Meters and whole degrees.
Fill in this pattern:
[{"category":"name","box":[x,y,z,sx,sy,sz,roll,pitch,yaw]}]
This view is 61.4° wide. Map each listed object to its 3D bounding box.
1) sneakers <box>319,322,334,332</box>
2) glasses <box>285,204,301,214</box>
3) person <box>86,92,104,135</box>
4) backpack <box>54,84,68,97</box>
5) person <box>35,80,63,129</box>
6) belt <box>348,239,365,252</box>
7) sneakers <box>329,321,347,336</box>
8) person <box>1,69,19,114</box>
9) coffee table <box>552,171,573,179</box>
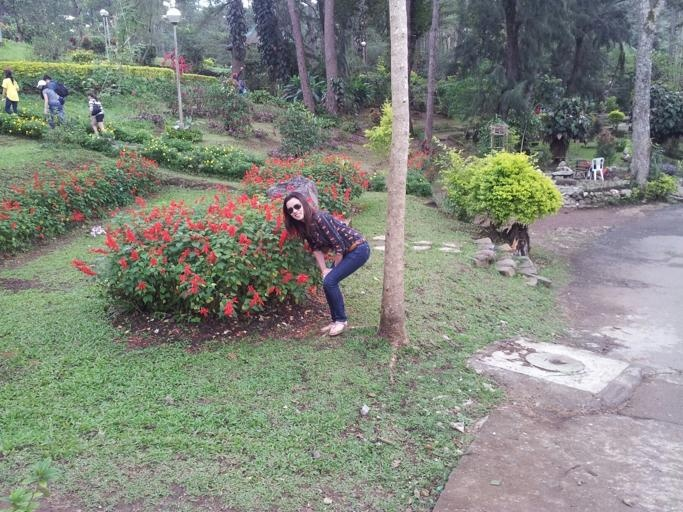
[{"category":"sneakers","box":[-0.174,0.924,7.432,0.227,0.105,0.077,-25,13,-30]},{"category":"glasses","box":[-0.576,-0.578,7.002,0.184,0.123,0.050,5,13,20]},{"category":"person","box":[-6.681,-3.925,15.769,0.309,1.040,0.728,-5,13,-22]},{"category":"backpack","box":[-8.163,-4.891,16.825,0.426,0.241,0.590,10,23,-35]},{"category":"person","box":[-8.029,-4.275,16.040,0.503,1.295,2.341,-6,14,-25]},{"category":"belt","box":[0.195,-0.146,7.167,0.164,0.061,0.127,-44,2,14]},{"category":"sneakers","box":[-0.032,0.926,7.391,0.103,0.113,0.264,-11,6,32]},{"category":"person","box":[-9.477,-4.732,16.533,0.373,1.220,1.456,-7,15,-29]},{"category":"coffee table","box":[8.489,-3.116,21.933,0.873,0.240,0.302,-4,13,-15]}]
